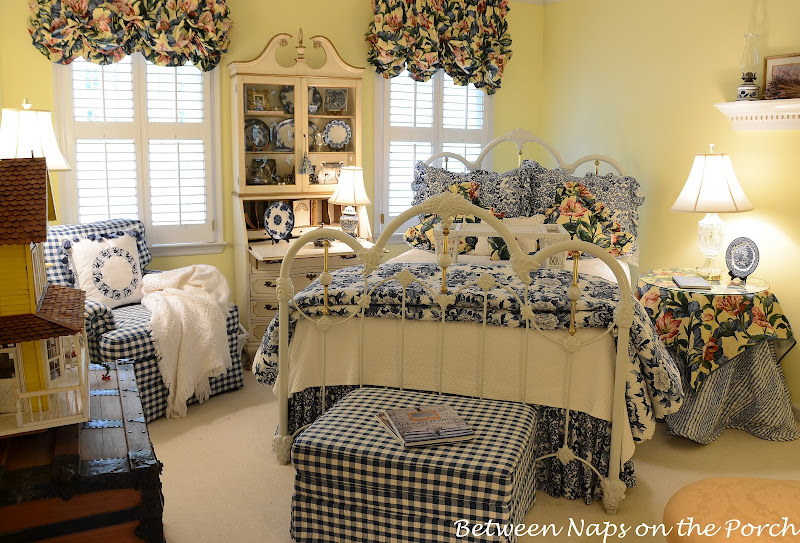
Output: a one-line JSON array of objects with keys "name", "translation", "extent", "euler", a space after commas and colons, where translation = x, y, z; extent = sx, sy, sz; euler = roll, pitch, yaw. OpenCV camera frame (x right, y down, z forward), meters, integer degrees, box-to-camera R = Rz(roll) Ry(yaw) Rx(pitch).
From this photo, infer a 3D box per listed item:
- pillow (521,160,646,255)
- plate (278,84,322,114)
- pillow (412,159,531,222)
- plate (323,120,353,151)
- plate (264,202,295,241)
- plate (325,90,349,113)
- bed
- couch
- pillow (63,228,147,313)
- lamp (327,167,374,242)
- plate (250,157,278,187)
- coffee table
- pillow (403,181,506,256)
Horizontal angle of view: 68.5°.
[{"name": "pillow", "translation": [1.404, -0.448, 4.402], "extent": [0.728, 0.736, 0.214], "euler": [10, -26, -9]}, {"name": "plate", "translation": [-0.780, -1.351, 4.680], "extent": [0.355, 0.214, 0.053], "euler": [-5, 11, -24]}, {"name": "pillow", "translation": [0.569, -0.637, 4.471], "extent": [0.618, 0.534, 0.184], "euler": [1, -17, 7]}, {"name": "plate", "translation": [-0.511, -1.110, 4.838], "extent": [0.243, 0.245, 0.065], "euler": [-21, 15, -24]}, {"name": "plate", "translation": [-0.963, -0.394, 4.702], "extent": [0.263, 0.295, 0.069], "euler": [-2, 3, -27]}, {"name": "plate", "translation": [-0.521, -1.384, 4.790], "extent": [0.190, 0.188, 0.019], "euler": [-4, 11, -25]}, {"name": "bed", "translation": [0.802, -0.012, 4.080], "extent": [1.812, 1.695, 2.789], "euler": [1, 14, 25]}, {"name": "couch", "translation": [-1.835, 0.240, 4.153], "extent": [1.404, 1.347, 1.052], "euler": [12, 19, 37]}, {"name": "pillow", "translation": [-1.949, -0.003, 3.942], "extent": [0.578, 0.581, 0.229], "euler": [-10, -1, -42]}, {"name": "lamp", "translation": [-0.388, -0.535, 4.739], "extent": [0.352, 0.562, 0.347], "euler": [1, 10, -3]}, {"name": "plate", "translation": [-1.074, -0.787, 4.659], "extent": [0.204, 0.201, 0.049], "euler": [1, 4, -25]}, {"name": "coffee table", "translation": [1.971, 0.507, 3.827], "extent": [0.951, 0.889, 0.867], "euler": [-14, 13, -33]}, {"name": "pillow", "translation": [0.331, -0.428, 4.356], "extent": [0.591, 0.596, 0.179], "euler": [2, -10, 10]}]
